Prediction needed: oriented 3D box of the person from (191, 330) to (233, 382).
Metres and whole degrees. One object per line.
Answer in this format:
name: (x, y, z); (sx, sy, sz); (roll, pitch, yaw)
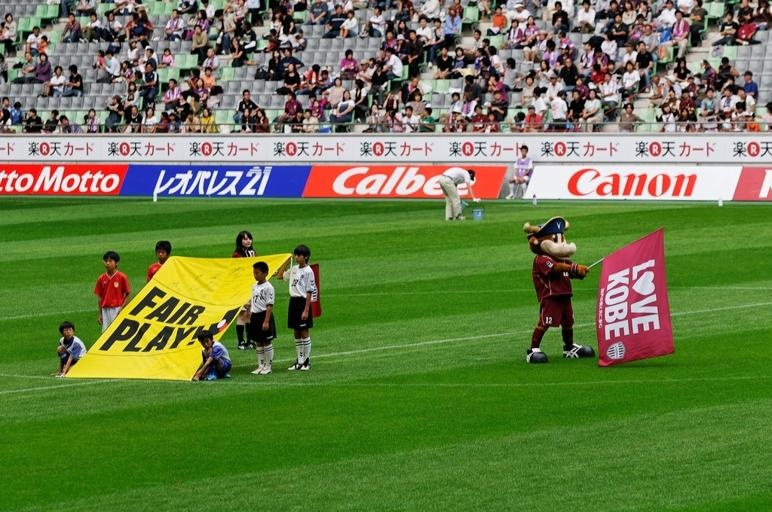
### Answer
person: (-3.645, 1.998, 27.816); (0.661, 0.965, 0.870); (-4, -1, 39)

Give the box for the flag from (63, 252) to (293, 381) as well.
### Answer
flag: (-4.573, 1.342, 28.683); (2.564, 0.927, 3.840); (3, 29, 23)

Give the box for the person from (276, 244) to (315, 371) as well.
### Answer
person: (-1.751, 1.049, 28.082); (0.690, 2.546, 1.045); (-4, 9, -4)

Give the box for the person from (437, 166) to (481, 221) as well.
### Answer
person: (2.319, -1.936, 42.845); (0.960, 1.569, 1.374); (0, 9, 20)

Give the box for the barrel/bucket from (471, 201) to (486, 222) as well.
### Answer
barrel/bucket: (2.955, -1.383, 42.952); (0.539, 0.706, 0.687); (0, -3, 3)

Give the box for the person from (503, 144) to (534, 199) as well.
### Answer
person: (4.793, -2.967, 48.006); (0.820, 1.836, 0.975); (2, 10, 28)

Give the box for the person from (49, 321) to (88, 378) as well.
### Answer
person: (-6.642, 1.888, 28.344); (0.651, 1.063, 0.573); (-7, 9, -22)

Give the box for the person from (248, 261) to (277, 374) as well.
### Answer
person: (-2.573, 1.248, 27.958); (0.523, 2.268, 1.002); (-4, 9, -6)
